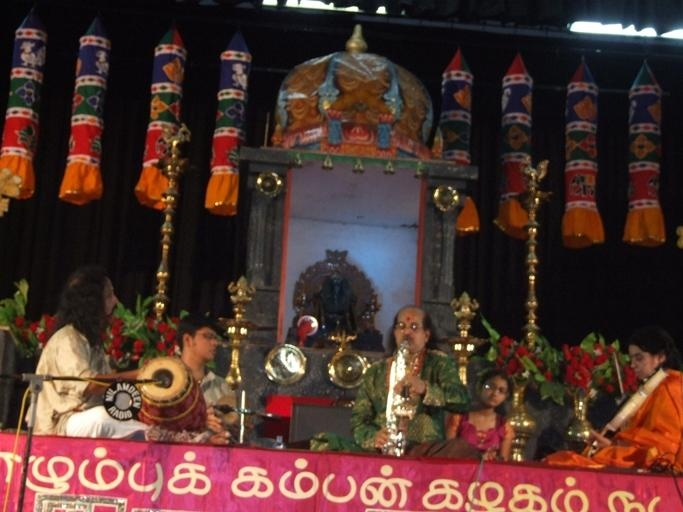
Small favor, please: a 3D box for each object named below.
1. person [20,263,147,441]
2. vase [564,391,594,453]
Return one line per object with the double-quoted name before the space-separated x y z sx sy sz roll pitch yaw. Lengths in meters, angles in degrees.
"person" -1.898 0.721 11.012 0.774 1.298 1.103 2 1 4
"vase" 1.842 1.296 11.194 0.231 0.561 0.231 -1 -5 30
